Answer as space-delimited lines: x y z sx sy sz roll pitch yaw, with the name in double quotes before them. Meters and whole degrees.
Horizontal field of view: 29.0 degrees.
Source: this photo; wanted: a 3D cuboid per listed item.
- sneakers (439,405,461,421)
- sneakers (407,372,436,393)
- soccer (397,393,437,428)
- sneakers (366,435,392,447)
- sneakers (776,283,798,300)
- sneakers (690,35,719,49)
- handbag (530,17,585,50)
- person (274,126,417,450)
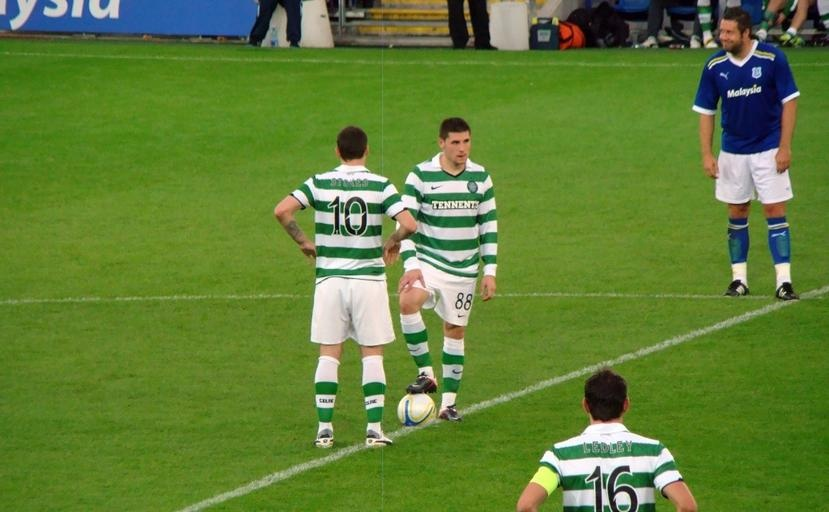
"sneakers" 0.447 1.991 20.365 0.305 0.143 0.136 2 0 39
"sneakers" 0.114 1.612 20.347 0.396 0.185 0.178 1 -2 -27
"soccer" 0.005 1.887 20.336 0.420 0.432 0.465 25 24 38
"sneakers" -0.467 2.253 19.819 0.369 0.154 0.129 0 8 -24
"sneakers" 5.145 0.490 22.085 0.184 0.139 0.321 0 1 2
"sneakers" 5.836 -4.278 32.230 0.614 0.250 0.232 3 6 44
"handbag" 2.893 -4.503 33.037 0.977 0.404 0.699 0 1 -24
"person" -0.802 0.401 19.833 1.493 3.860 0.950 -3 13 -3
